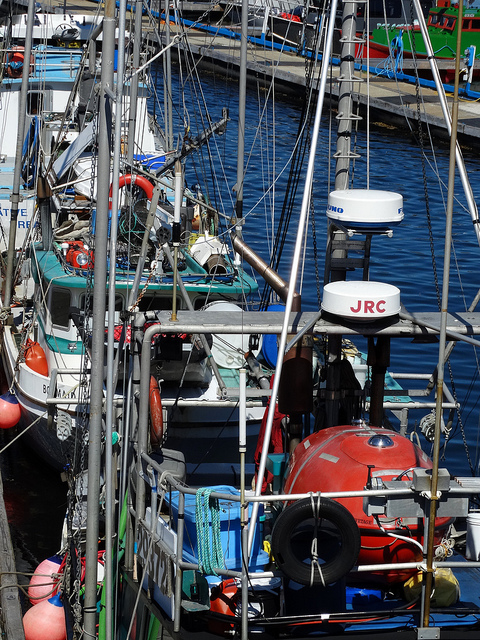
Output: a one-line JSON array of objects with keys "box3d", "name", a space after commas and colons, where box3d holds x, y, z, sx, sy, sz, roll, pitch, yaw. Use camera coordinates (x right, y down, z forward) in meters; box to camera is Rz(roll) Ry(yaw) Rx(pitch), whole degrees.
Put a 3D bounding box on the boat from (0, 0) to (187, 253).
[{"box3d": [-3.450, -4.095, 24.266, 3.068, 3.330, 7.949, -1, 24, -6], "name": "boat"}]
